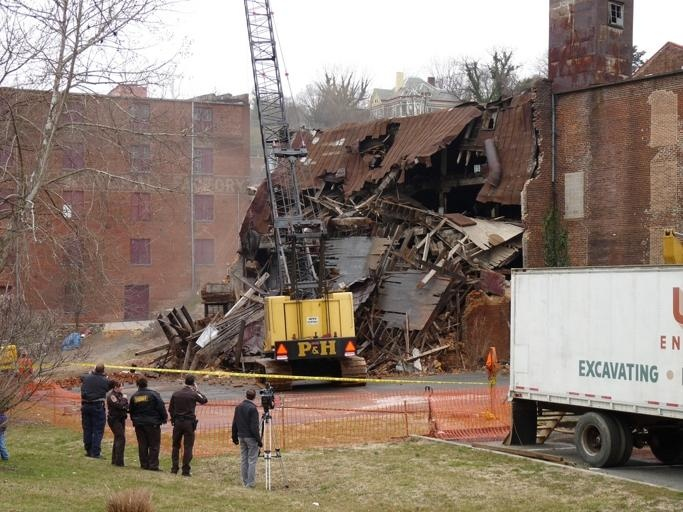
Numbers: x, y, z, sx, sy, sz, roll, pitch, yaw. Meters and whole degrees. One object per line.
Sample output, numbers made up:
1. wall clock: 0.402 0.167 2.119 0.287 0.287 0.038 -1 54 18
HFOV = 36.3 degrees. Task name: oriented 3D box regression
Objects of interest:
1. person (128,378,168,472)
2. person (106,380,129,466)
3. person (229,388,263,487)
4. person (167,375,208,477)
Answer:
1. person: -4.503 3.837 24.021 0.868 2.126 0.712 1 -3 -14
2. person: -5.285 3.904 24.416 0.463 1.885 1.335 0 -3 -12
3. person: -2.162 4.138 23.322 0.649 1.993 0.290 -1 -3 4
4. person: -3.614 3.858 23.967 0.741 2.264 0.892 0 -3 -9
